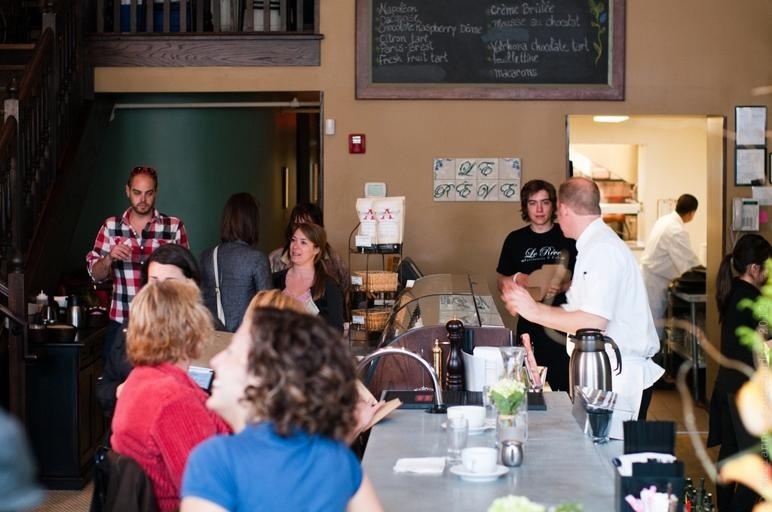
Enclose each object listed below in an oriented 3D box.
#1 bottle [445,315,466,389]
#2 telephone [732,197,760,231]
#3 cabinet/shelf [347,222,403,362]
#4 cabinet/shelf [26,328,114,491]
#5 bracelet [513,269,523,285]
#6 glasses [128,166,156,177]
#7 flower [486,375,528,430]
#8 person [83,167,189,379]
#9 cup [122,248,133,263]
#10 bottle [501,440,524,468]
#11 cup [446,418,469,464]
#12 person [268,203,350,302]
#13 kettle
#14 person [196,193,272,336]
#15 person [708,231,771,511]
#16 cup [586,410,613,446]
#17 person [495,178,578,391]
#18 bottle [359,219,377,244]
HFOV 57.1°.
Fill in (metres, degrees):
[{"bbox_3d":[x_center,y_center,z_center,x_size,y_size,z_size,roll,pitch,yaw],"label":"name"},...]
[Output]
[{"bbox_3d":[0.342,0.481,3.487,0.089,0.345,0.135,0,5,7],"label":"bottle"},{"bbox_3d":[2.966,-0.339,5.848,0.230,0.270,0.053,-1,5,-11],"label":"telephone"},{"bbox_3d":[-0.054,0.304,4.852,0.402,0.955,0.394,4,-8,-37],"label":"cabinet/shelf"},{"bbox_3d":[-2.269,1.062,5.208,0.370,0.947,0.982,0,2,-7],"label":"cabinet/shelf"},{"bbox_3d":[0.921,0.148,4.923,0.074,0.090,0.038,-1,-29,-3],"label":"bracelet"},{"bbox_3d":[-1.636,-0.573,4.816,0.152,0.059,0.078,-4,6,-38],"label":"glasses"},{"bbox_3d":[0.481,0.596,2.855,0.176,0.280,0.176,-1,-18,-6],"label":"flower"},{"bbox_3d":[-1.703,0.373,4.887,0.689,1.862,0.601,0,5,-38],"label":"person"},{"bbox_3d":[-1.686,-0.009,4.630,0.067,0.084,0.137,-5,-1,-21],"label":"cup"},{"bbox_3d":[0.488,0.774,2.759,0.089,0.090,0.092,0,-11,0],"label":"bottle"},{"bbox_3d":[0.287,0.732,2.823,0.106,0.174,0.107,1,-14,0],"label":"cup"},{"bbox_3d":[-0.519,0.024,5.031,0.581,0.277,1.020,-6,39,-15],"label":"person"},{"bbox_3d":[0.967,0.529,3.257,0.227,0.359,0.174,-1,4,30],"label":"kettle"},{"bbox_3d":[-0.992,0.192,4.526,0.488,1.222,0.286,14,24,12],"label":"person"},{"bbox_3d":[2.095,0.690,4.208,0.316,1.598,0.744,2,5,25],"label":"person"},{"bbox_3d":[0.889,0.717,2.959,0.125,0.146,0.124,0,-6,0],"label":"cup"},{"bbox_3d":[1.154,0.433,5.303,0.670,1.967,0.606,0,16,23],"label":"person"},{"bbox_3d":[-0.125,-0.163,4.886,0.142,0.228,0.146,-1,-8,0],"label":"bottle"}]
